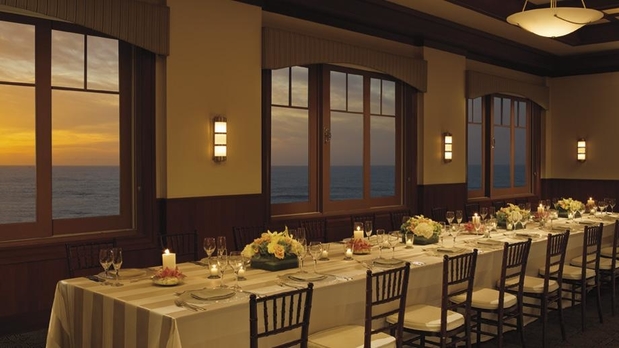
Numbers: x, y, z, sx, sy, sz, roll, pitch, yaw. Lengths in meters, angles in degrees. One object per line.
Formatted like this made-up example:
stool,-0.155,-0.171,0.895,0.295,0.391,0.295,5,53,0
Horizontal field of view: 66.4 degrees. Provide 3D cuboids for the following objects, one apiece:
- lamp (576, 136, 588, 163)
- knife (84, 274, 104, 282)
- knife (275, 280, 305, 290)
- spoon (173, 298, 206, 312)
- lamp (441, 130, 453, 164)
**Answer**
lamp,7.444,-0.657,12.929,0.269,0.690,0.118,-5,-1,27
knife,-2.581,1.235,5.635,0.331,0.017,0.099,2,1,36
knife,-0.232,1.275,5.441,0.365,0.064,0.124,6,6,29
spoon,-1.281,1.392,5.026,0.353,0.104,0.087,-5,-2,25
lamp,3.164,-0.613,10.731,0.355,0.673,0.144,-3,-2,-42
